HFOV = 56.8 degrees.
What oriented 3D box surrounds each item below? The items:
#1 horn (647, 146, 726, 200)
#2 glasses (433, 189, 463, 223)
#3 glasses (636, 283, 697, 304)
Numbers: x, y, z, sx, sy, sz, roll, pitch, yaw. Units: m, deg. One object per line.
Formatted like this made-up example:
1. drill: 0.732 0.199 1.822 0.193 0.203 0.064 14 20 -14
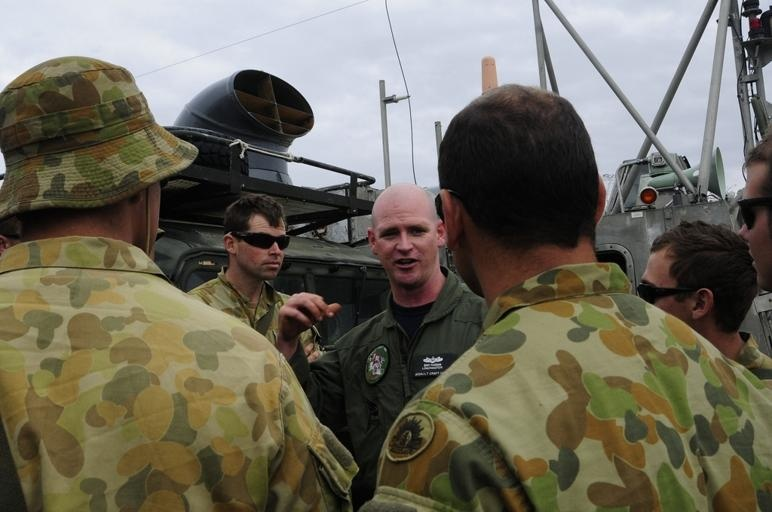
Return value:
1. horn: 3.400 -0.912 8.019 0.654 0.692 0.893 2 -3 -37
2. glasses: 0.185 -0.160 2.245 0.025 0.089 0.086 -7 -14 34
3. glasses: 1.303 0.166 3.341 0.181 0.064 0.181 1 -8 7
